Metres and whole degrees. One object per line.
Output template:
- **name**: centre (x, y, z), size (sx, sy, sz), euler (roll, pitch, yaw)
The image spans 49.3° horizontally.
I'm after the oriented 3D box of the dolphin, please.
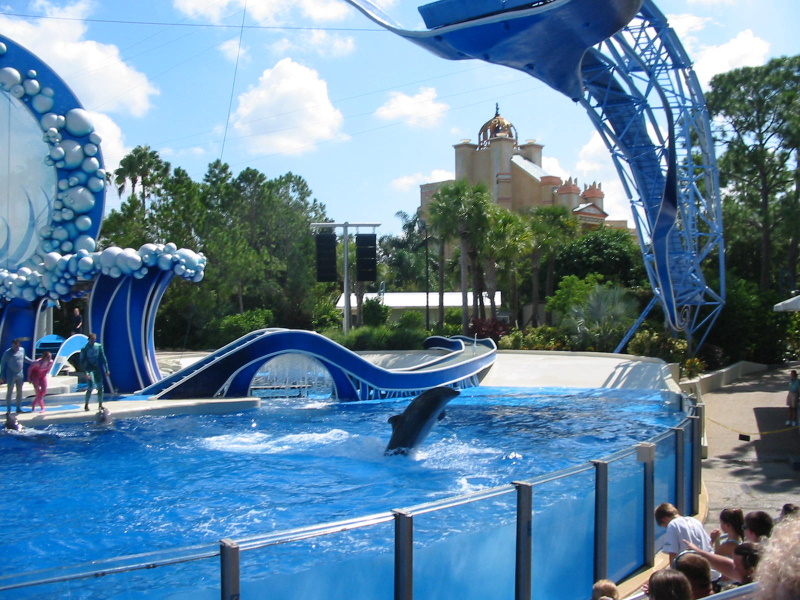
- **dolphin**: centre (0.419, 2.218, 17.478), size (0.873, 0.818, 2.221), euler (10, -54, -33)
